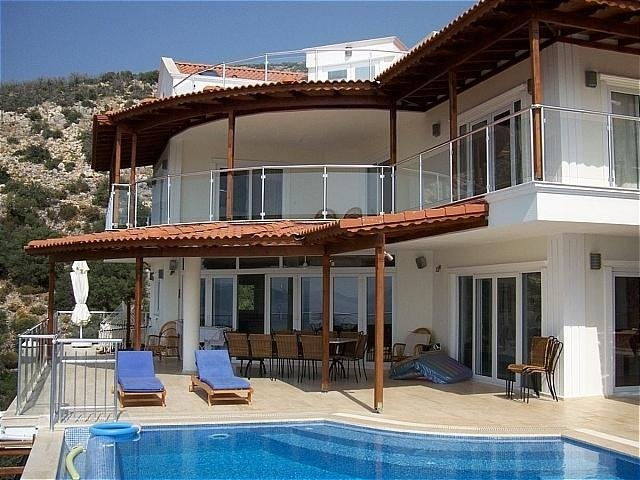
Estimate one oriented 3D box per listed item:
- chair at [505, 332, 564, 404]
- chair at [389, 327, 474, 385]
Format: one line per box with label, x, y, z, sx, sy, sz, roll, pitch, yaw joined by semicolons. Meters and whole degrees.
chair;4.994;2.946;13.975;1.358;2.023;1.221;4;-7;-14
chair;2.875;3.179;16.814;1.106;0.918;1.731;-3;4;-29
